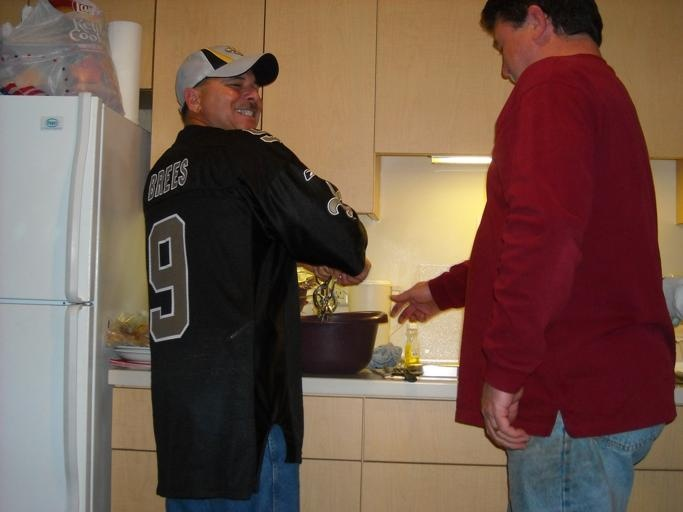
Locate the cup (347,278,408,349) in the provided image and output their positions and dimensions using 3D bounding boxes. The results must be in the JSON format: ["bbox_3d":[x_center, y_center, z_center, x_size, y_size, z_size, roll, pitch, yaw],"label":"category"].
[{"bbox_3d":[0.138,0.226,2.860,0.259,0.311,0.181,0,-1,-14],"label":"cup"}]

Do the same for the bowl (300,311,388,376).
[{"bbox_3d":[-0.015,0.291,2.331,0.211,0.152,0.218,1,-6,0],"label":"bowl"}]
